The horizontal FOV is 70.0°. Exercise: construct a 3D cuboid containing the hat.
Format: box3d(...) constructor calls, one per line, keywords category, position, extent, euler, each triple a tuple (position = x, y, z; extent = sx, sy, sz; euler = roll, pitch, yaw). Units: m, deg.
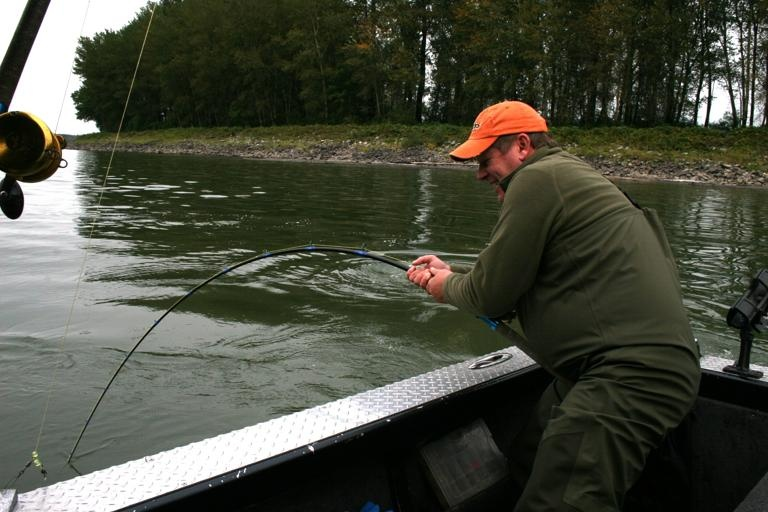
box3d(category="hat", position=(0.549, -0.641, 2.722), extent=(0.528, 0.225, 0.302), euler=(-11, 16, -4))
